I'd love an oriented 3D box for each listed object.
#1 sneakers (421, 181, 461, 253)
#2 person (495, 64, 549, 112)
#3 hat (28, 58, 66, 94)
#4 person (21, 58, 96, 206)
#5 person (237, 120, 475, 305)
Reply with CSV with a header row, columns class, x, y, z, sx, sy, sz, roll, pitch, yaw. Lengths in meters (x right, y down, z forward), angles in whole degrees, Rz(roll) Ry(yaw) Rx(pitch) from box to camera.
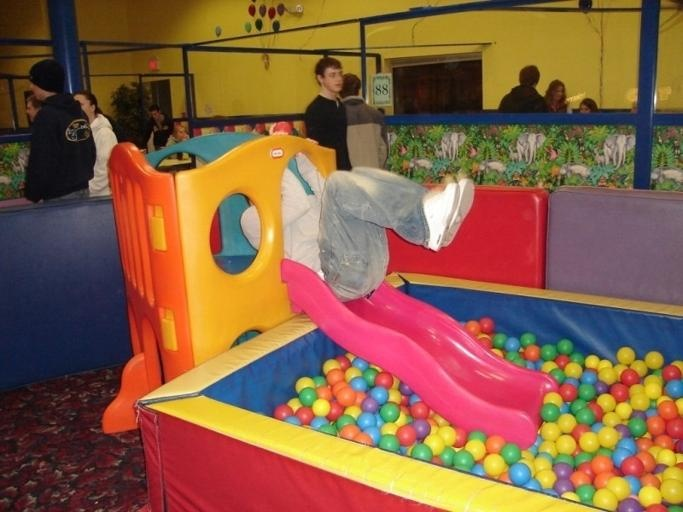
class,x,y,z,sx,sy,sz,roll,pitch,yaw
sneakers,0.464,-0.184,2.688,0.136,0.329,0.114,15,12,30
person,1.612,-1.500,5.304,0.388,0.395,0.788,4,17,14
hat,-2.129,-1.315,4.321,0.268,0.235,0.269,14,13,39
person,-1.989,-0.888,4.161,0.456,0.959,0.593,-5,16,-20
person,0.016,-0.304,3.212,1.506,0.788,0.534,18,20,31
